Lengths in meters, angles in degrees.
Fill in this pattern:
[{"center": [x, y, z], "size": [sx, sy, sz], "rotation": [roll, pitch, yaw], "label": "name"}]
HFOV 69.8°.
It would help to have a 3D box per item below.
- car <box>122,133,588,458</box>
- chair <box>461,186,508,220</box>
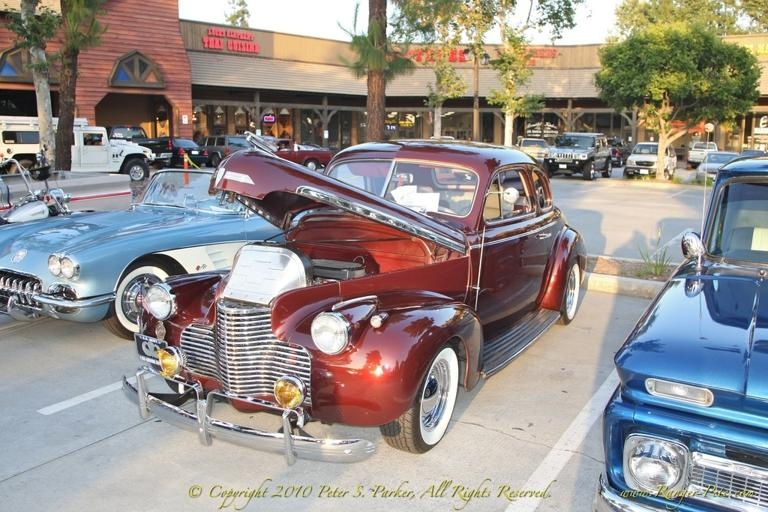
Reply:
[{"center": [-0.033, 0.239, 5.295], "size": [2.118, 2.569, 4.254], "rotation": [12, 18, 42], "label": "car"}, {"center": [1.173, -0.535, 5.890], "size": [0.424, 0.430, 0.416], "rotation": [5, 8, 2], "label": "chair"}]
